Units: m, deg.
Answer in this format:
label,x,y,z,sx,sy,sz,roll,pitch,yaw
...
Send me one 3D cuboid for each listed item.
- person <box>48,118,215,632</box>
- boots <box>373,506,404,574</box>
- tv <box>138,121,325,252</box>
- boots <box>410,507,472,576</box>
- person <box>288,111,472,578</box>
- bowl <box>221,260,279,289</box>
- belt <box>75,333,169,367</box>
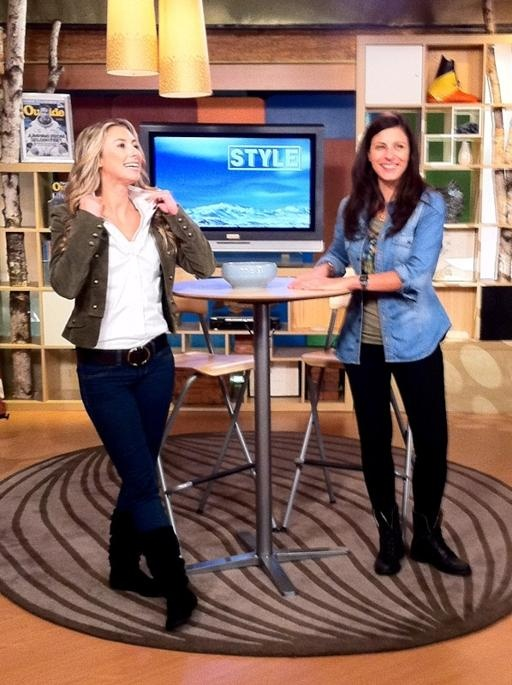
label,x,y,z,sx,sy,sz,roll,pitch,yaw
person,-0.345,0.086,1.739,0.501,1.460,0.312,-3,5,-25
boots,0.477,0.717,2.077,0.087,0.163,0.238,-4,-6,11
tv,-0.155,-1.097,3.974,1.465,1.000,0.430,0,5,-1
boots,0.666,0.703,2.089,0.100,0.182,0.258,-2,5,-35
person,0.437,0.044,1.954,0.534,1.540,0.551,1,5,22
bowl,-0.023,-0.212,1.831,0.166,0.087,0.171,-1,4,0
belt,-0.367,0.023,1.674,0.276,0.086,0.144,-3,5,-24
